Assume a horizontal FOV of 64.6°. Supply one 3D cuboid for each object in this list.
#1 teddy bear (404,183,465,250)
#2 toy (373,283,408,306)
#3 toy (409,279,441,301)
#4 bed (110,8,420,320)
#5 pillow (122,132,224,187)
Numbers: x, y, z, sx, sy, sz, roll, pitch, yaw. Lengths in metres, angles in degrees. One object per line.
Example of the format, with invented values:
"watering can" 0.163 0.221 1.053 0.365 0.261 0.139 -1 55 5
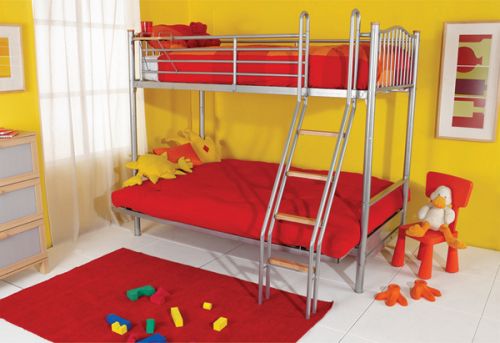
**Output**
"teddy bear" 1.987 0.452 4.174 0.586 0.426 0.509 10 36 32
"toy" 1.347 1.139 3.765 0.327 0.110 0.293 4 17 -23
"toy" 1.676 1.133 3.781 0.173 0.085 0.252 -24 27 -29
"bed" 0.120 -0.315 4.856 3.312 2.446 2.474 12 18 38
"pillow" -0.968 -0.129 5.226 0.618 0.197 1.385 28 23 16
